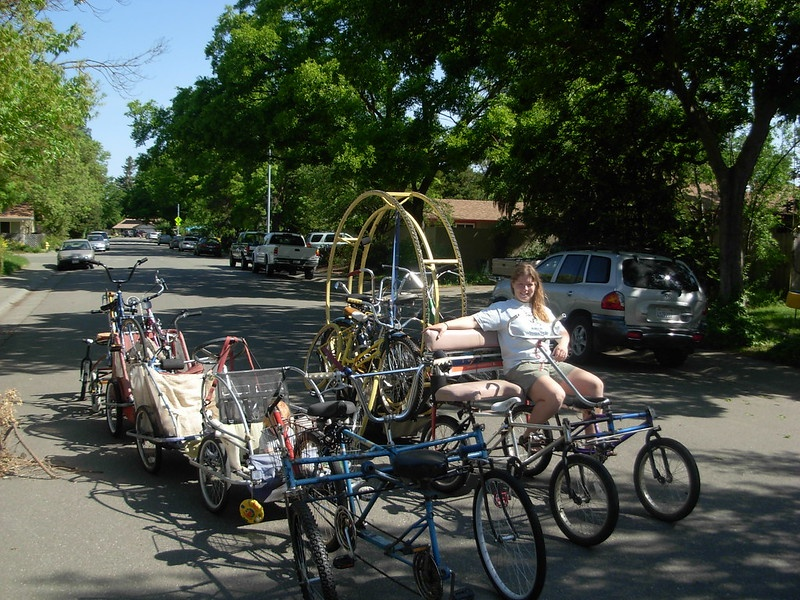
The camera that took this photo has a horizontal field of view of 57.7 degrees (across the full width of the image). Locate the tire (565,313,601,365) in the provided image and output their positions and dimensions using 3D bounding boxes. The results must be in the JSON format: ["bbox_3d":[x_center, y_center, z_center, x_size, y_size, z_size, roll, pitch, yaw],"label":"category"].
[{"bbox_3d":[3.291,0.727,13.058,0.278,0.726,0.751,4,-12,-10],"label":"tire"}]

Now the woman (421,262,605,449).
[{"bbox_3d":[1.390,0.615,8.267,1.956,2.146,1.209,10,-28,-25],"label":"woman"}]

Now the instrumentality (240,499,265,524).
[{"bbox_3d":[-1.246,1.832,6.155,0.274,0.261,0.078,10,16,28],"label":"instrumentality"}]

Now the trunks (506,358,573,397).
[{"bbox_3d":[1.269,0.715,7.094,0.410,0.118,0.411,3,13,42],"label":"trunks"}]

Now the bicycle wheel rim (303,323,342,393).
[{"bbox_3d":[-0.986,0.801,9.712,0.293,0.906,0.689,9,23,-33],"label":"bicycle wheel rim"}]

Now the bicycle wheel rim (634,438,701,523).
[{"bbox_3d":[2.435,1.630,6.630,0.623,0.798,0.391,1,3,36],"label":"bicycle wheel rim"}]

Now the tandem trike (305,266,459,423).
[{"bbox_3d":[-0.430,0.429,9.091,1.350,1.308,2.216,-1,-8,29],"label":"tandem trike"}]

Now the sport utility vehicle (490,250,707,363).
[{"bbox_3d":[3.613,0.000,13.787,1.963,1.607,3.934,1,7,-28],"label":"sport utility vehicle"}]

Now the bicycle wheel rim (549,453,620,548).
[{"bbox_3d":[1.553,1.731,6.176,0.104,0.578,0.628,-4,-26,-40],"label":"bicycle wheel rim"}]
